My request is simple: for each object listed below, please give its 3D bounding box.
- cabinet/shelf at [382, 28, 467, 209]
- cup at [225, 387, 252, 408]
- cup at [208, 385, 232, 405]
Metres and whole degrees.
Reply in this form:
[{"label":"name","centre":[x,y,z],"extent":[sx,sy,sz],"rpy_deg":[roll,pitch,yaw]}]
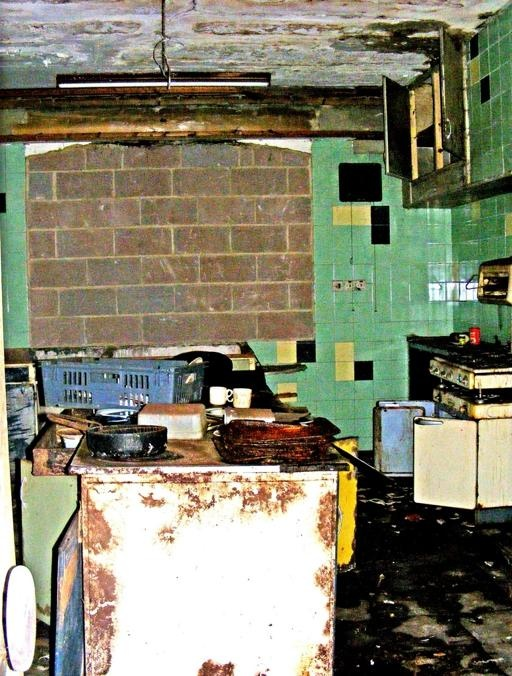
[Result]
[{"label":"cabinet/shelf","centre":[1.016,-1.335,7.157],"extent":[0.307,0.806,0.827],"rpy_deg":[-2,3,9]},{"label":"cup","centre":[-0.082,0.289,5.673],"extent":[0.109,0.083,0.077],"rpy_deg":[-1,-1,36]},{"label":"cup","centre":[-0.172,0.284,5.740],"extent":[0.099,0.079,0.069],"rpy_deg":[3,-2,-9]}]
